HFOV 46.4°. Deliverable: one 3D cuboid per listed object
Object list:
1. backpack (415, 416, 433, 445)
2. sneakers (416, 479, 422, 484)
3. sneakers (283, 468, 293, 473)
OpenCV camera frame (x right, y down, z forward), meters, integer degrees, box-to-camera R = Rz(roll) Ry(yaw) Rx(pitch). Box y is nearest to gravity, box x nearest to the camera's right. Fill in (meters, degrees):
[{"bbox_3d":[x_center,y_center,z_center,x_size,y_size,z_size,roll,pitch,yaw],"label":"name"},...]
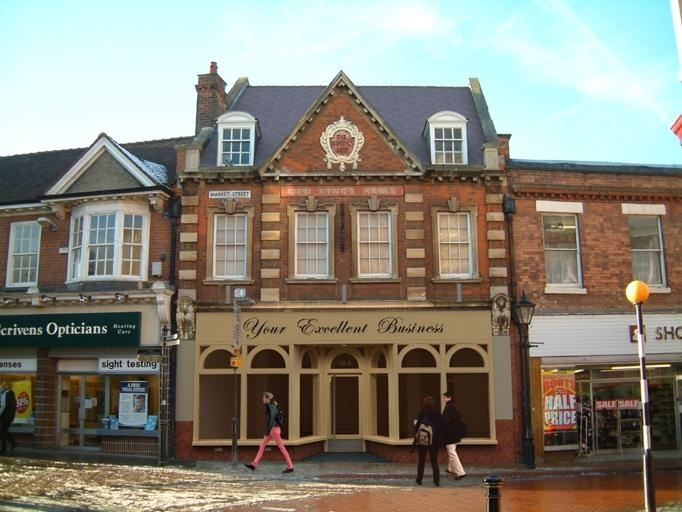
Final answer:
[{"bbox_3d":[2.306,4.827,21.809,0.522,0.753,0.332,-1,-12,0],"label":"backpack"},{"bbox_3d":[2.167,6.241,21.965,0.196,0.174,0.100,2,10,5],"label":"sneakers"},{"bbox_3d":[-1.508,6.266,23.210,0.333,0.120,0.116,2,-3,2],"label":"sneakers"}]
